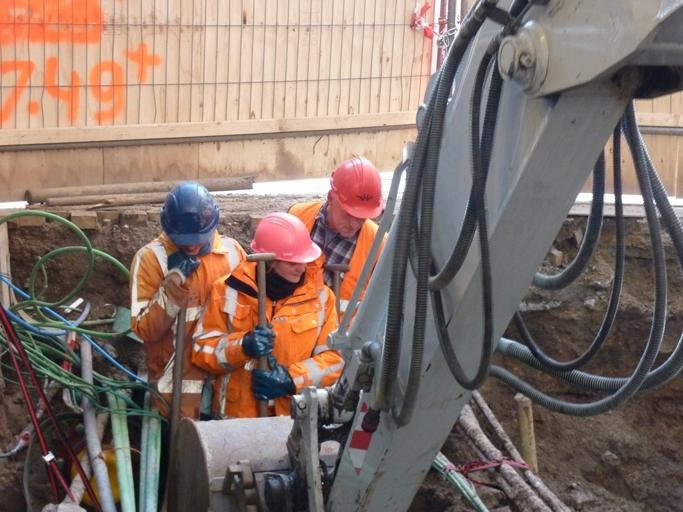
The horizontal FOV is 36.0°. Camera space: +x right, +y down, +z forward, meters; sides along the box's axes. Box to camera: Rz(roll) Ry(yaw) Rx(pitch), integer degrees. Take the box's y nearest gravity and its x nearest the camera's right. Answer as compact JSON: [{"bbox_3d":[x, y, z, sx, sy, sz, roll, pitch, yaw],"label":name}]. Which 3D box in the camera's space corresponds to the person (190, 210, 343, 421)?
[{"bbox_3d":[-0.568,0.541,8.142,1.135,1.496,0.705,3,22,-8],"label":"person"}]

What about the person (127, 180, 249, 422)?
[{"bbox_3d":[-1.202,0.675,8.754,0.834,2.694,0.660,-18,28,-34],"label":"person"}]

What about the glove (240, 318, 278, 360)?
[{"bbox_3d":[-0.624,0.640,7.862,0.224,0.275,0.191,-5,26,-19],"label":"glove"}]

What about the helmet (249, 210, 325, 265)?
[{"bbox_3d":[-0.523,-0.144,8.284,0.542,0.353,0.433,13,6,32],"label":"helmet"}]

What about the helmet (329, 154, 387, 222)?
[{"bbox_3d":[0.181,-0.614,8.732,0.439,0.400,0.697,2,-15,1],"label":"helmet"}]

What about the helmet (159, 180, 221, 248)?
[{"bbox_3d":[-1.221,-0.412,8.438,0.431,0.344,0.625,0,31,-6],"label":"helmet"}]
